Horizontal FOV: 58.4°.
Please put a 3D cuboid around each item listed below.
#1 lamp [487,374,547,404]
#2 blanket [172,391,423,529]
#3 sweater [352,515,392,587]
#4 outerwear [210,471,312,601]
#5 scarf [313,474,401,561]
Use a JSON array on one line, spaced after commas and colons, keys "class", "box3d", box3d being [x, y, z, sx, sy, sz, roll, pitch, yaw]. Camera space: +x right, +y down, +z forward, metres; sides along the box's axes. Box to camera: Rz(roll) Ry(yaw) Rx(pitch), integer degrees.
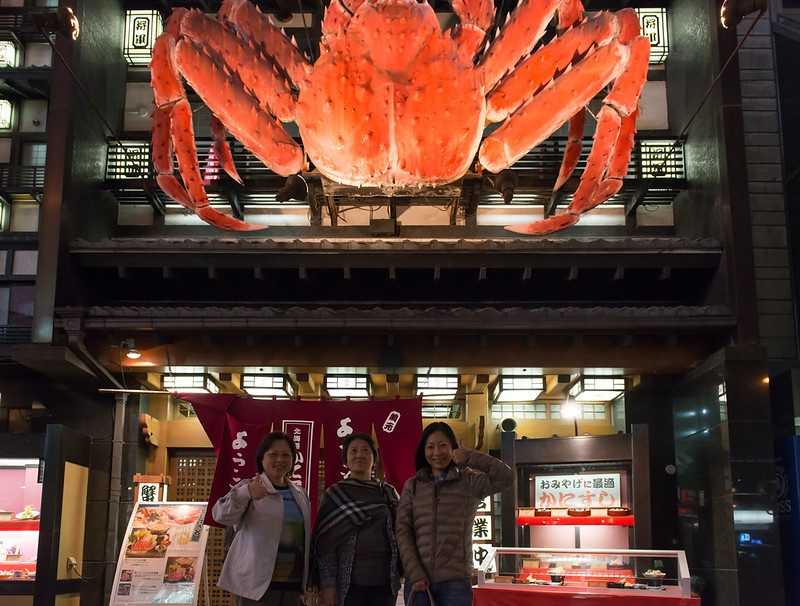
[{"class": "lamp", "box3d": [1.963, 1.373, 11.486, 0.729, 0.226, 0.525, -1, -14, 3]}, {"class": "blanket", "box3d": [-1.291, 2.001, 9.943, 2.941, 0.197, 1.758, 3, -61, -9]}, {"class": "sweater", "box3d": [-0.211, 2.078, 5.834, 0.380, 0.607, 0.329, -4, -50, 6]}, {"class": "outerwear", "box3d": [-1.176, 1.812, 5.588, 0.535, 0.934, 0.334, 2, -17, -8]}, {"class": "scarf", "box3d": [-0.325, 1.744, 6.003, 0.785, 0.662, 0.476, 6, -20, -18]}]
